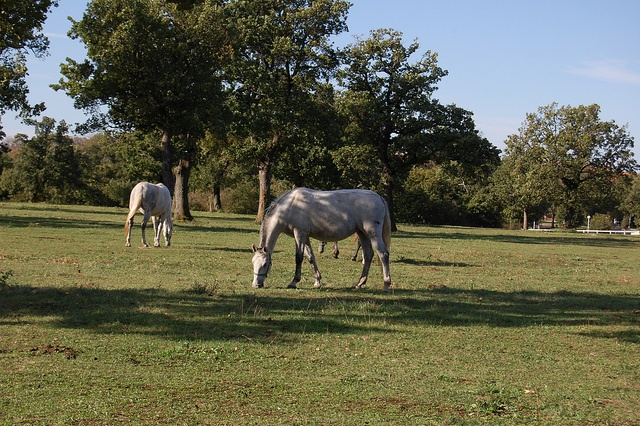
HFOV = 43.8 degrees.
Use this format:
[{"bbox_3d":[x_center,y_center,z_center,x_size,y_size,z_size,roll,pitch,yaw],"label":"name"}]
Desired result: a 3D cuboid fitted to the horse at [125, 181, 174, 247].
[{"bbox_3d":[-9.942,0.065,47.140,2.158,3.836,3.347,4,-1,14],"label":"horse"}]
